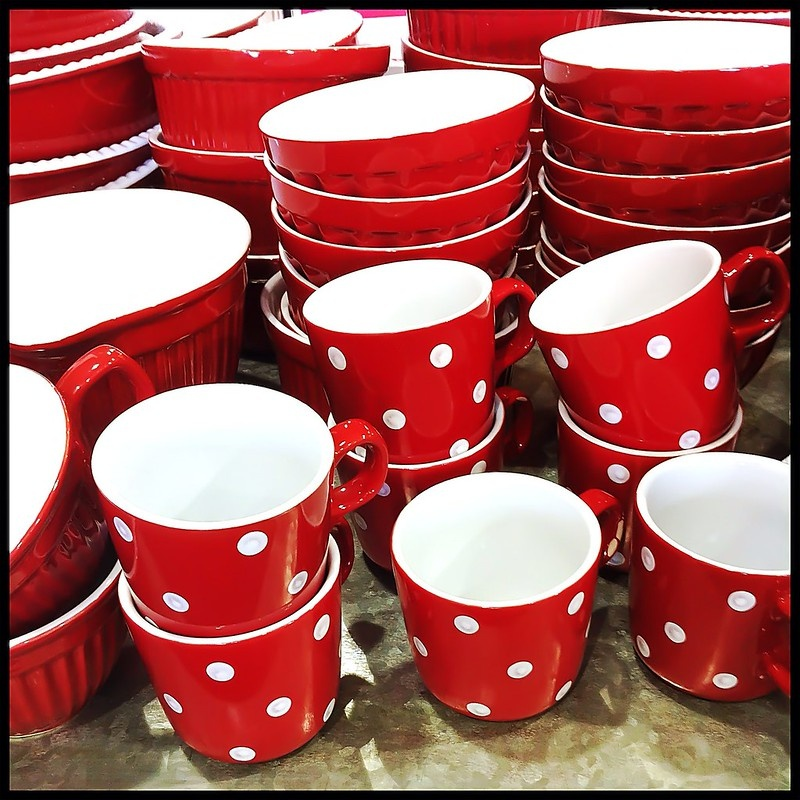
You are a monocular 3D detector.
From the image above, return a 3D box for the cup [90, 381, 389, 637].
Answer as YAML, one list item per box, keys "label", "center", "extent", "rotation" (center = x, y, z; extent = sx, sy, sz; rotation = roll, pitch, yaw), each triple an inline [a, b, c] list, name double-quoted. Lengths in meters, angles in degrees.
- label: "cup"
  center: [-0.112, 0.072, 0.519]
  extent: [0.194, 0.144, 0.160]
  rotation: [-13, 42, -20]

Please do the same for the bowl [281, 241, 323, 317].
- label: "bowl"
  center: [-0.119, -0.131, 0.783]
  extent: [0.054, 0.062, 0.090]
  rotation: [-7, 42, -10]

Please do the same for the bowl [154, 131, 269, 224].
- label: "bowl"
  center: [-0.255, -0.302, 0.934]
  extent: [0.126, 0.099, 0.114]
  rotation: [1, 36, -5]

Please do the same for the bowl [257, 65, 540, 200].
- label: "bowl"
  center: [-0.005, -0.263, 0.700]
  extent: [0.227, 0.106, 0.227]
  rotation: [-12, 18, 4]

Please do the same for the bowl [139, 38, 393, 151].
- label: "bowl"
  center: [-0.185, -0.387, 0.846]
  extent: [0.192, 0.078, 0.193]
  rotation: [0, 33, 0]

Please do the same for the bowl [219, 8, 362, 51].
- label: "bowl"
  center: [-0.150, -0.536, 0.983]
  extent: [0.189, 0.064, 0.156]
  rotation: [-16, 29, -16]

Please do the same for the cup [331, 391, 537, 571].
- label: "cup"
  center: [0.059, 0.075, 0.750]
  extent: [0.220, 0.144, 0.144]
  rotation: [-30, 35, -19]

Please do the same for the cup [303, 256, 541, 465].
- label: "cup"
  center: [0.022, -0.033, 0.684]
  extent: [0.207, 0.159, 0.175]
  rotation: [-22, 36, -7]

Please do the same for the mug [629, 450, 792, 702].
- label: "mug"
  center: [0.256, 0.146, 0.561]
  extent: [0.130, 0.165, 0.144]
  rotation: [14, 35, 26]
